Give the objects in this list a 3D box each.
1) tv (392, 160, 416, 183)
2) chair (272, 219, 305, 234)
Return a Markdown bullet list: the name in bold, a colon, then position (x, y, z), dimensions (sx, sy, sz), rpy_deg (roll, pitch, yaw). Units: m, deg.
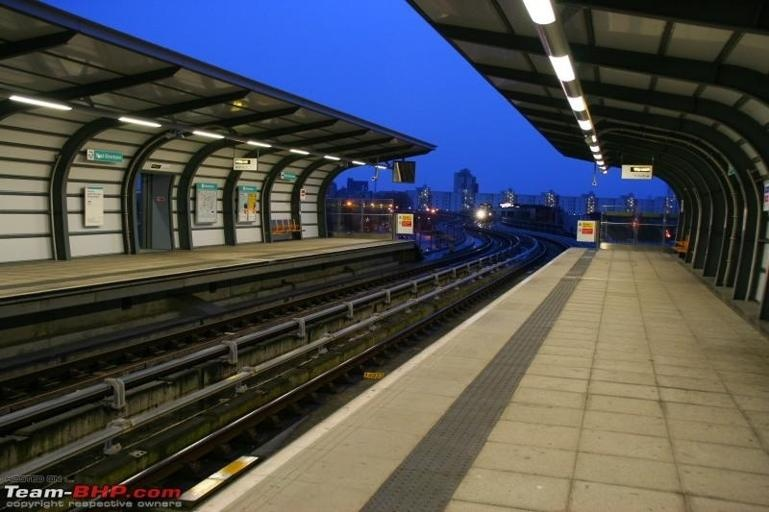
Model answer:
- **tv**: position (0.971, -4.562, 26.592), dimensions (1.294, 1.247, 0.725), rpy_deg (-6, 14, -2)
- **chair**: position (-5.212, -1.613, 26.172), dimensions (1.174, 0.564, 2.672), rpy_deg (0, 2, 28)
